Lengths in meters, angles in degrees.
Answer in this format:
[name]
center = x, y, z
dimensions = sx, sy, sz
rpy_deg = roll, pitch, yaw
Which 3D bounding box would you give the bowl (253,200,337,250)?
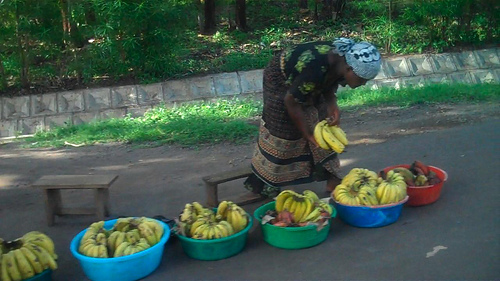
[bowl]
center = 0.939, 1.964, 11.464
dimensions = 1.153, 0.420, 1.176
rpy_deg = -2, 12, 0

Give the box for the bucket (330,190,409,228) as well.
[bucket]
center = 2.971, 1.504, 11.759
dimensions = 1.546, 0.534, 1.467
rpy_deg = -9, 10, 2
